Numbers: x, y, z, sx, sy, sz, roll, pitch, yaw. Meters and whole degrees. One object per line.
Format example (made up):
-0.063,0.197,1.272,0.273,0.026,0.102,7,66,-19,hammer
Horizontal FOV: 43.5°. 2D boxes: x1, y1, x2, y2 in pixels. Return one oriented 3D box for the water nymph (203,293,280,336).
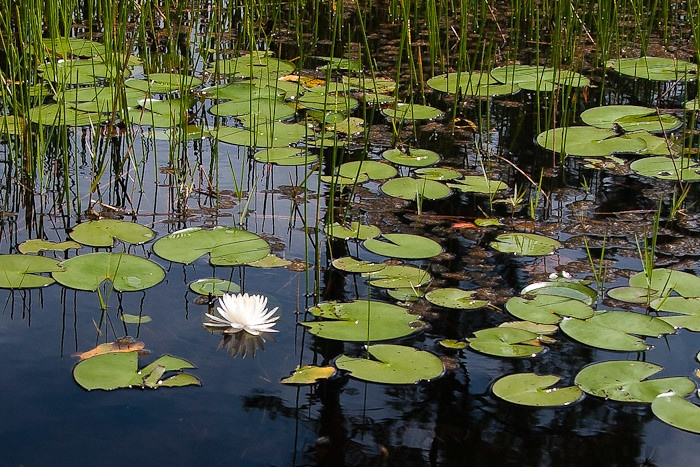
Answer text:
-0.460,0.318,3.728,0.331,0.119,0.270,-5,18,-9,water nymph
